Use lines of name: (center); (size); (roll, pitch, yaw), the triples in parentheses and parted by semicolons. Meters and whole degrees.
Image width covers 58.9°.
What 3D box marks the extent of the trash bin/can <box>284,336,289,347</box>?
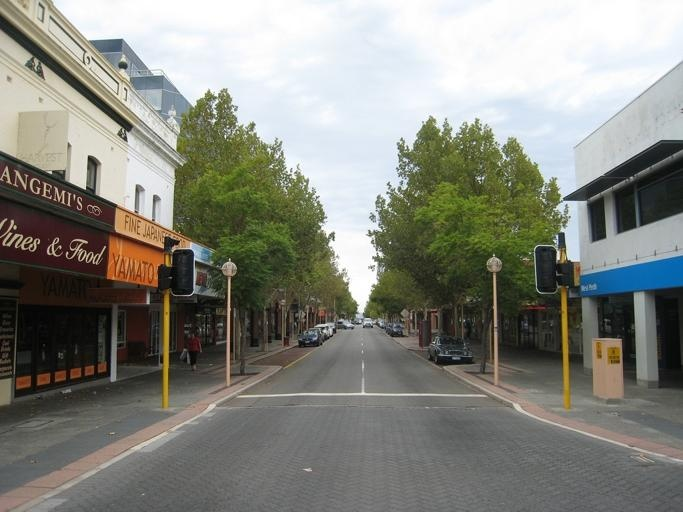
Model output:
trash bin/can: (-4.553, 6.931, 49.160); (0.428, 0.968, 0.950); (-2, -6, 4)

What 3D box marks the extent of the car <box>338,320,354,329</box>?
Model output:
car: (0.629, 11.950, 102.101); (1.307, 1.014, 2.263); (1, 3, 34)

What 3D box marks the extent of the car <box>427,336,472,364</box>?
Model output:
car: (5.797, 4.886, 32.096); (2.052, 1.528, 1.877); (-4, -13, 14)

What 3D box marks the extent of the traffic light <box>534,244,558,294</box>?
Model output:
traffic light: (6.309, 0.368, 18.684); (0.686, 1.429, 0.403); (-2, -10, 9)
